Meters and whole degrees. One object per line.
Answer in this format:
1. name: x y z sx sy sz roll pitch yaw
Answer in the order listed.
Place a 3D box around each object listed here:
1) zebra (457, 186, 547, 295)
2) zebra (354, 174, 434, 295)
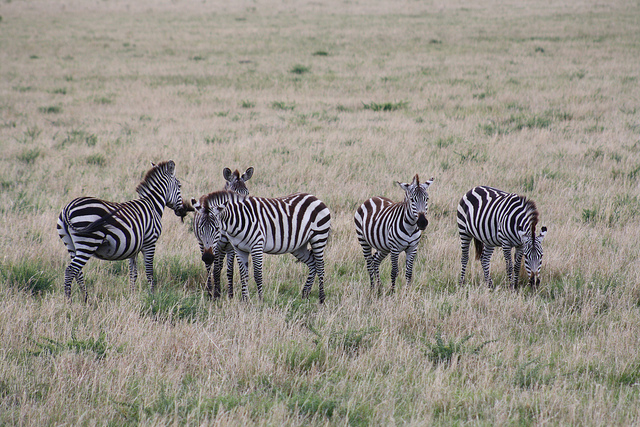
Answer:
1. zebra: 6.342 0.980 34.576 3.061 3.183 1.497 11 27 26
2. zebra: 2.553 0.593 34.465 2.383 3.879 1.572 2 23 8
